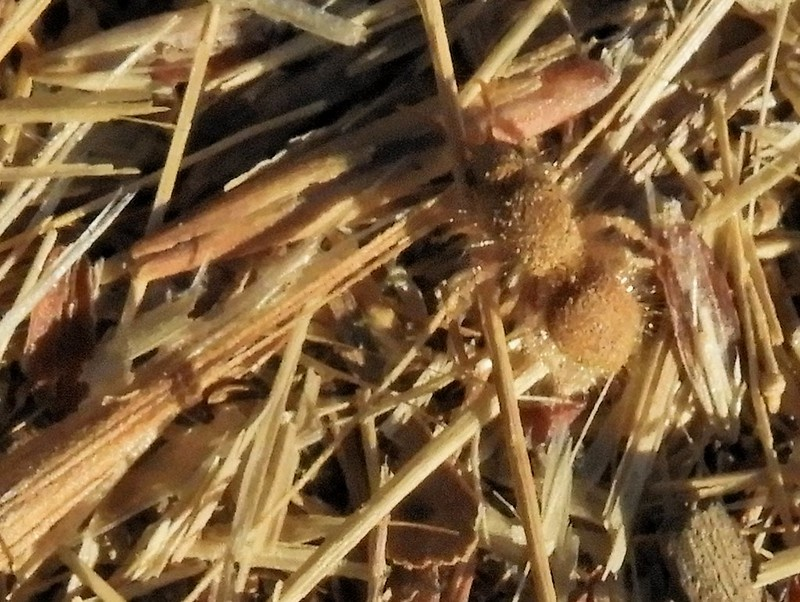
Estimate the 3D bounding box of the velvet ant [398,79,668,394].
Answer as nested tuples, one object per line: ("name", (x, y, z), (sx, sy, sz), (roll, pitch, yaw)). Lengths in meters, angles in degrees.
("velvet ant", (0.179, -0.076, 1.430), (0.316, 0.120, 0.361), (-43, 91, 2))
